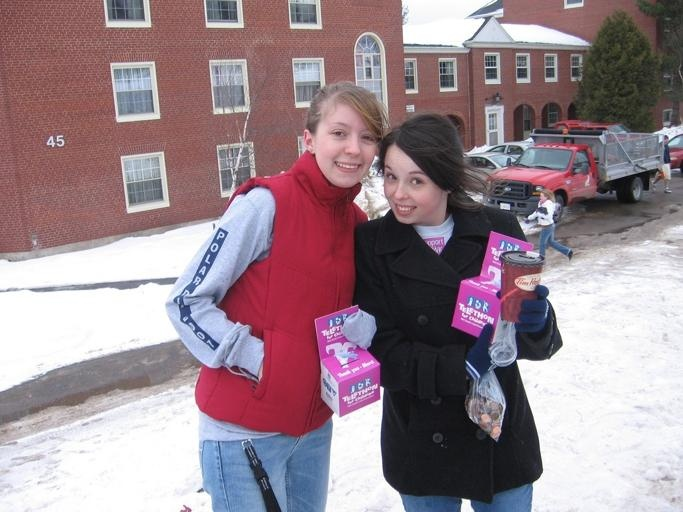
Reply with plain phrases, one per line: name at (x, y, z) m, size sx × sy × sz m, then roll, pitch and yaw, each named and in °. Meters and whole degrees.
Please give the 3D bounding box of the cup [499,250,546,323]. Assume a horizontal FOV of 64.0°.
cup at (1.010, 0.180, 3.071) m, size 0.241 × 0.406 × 0.208 m, roll -3°, pitch 8°, yaw 16°

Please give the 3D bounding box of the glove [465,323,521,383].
glove at (0.887, 0.587, 3.216) m, size 0.244 × 0.349 × 0.123 m, roll 24°, pitch 2°, yaw 42°

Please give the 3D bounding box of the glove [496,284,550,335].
glove at (1.068, 0.310, 3.108) m, size 0.194 × 0.268 × 0.096 m, roll 4°, pitch 5°, yaw -16°
